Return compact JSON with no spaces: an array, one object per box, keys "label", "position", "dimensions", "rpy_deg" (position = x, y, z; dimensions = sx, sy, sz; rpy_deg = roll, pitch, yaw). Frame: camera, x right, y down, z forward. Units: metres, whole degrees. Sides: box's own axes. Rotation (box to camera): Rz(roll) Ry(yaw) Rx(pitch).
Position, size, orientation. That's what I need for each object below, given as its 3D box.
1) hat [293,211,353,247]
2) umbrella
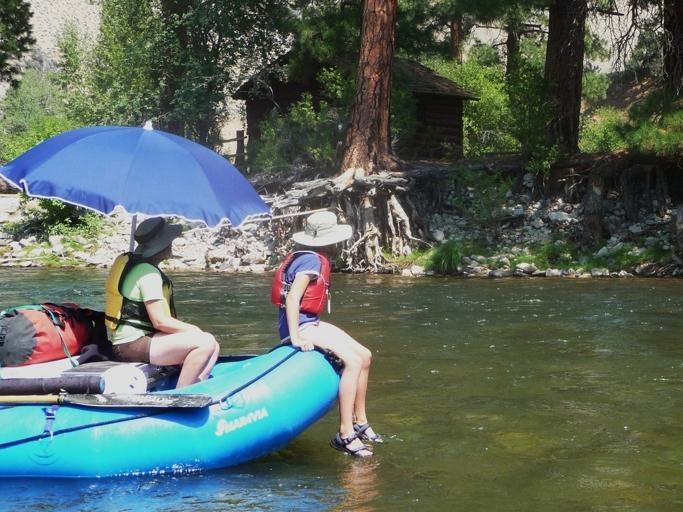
[{"label":"hat","position":[-0.195,-0.360,10.898],"dimensions":[0.799,0.264,0.773],"rpy_deg":[-7,19,-15]},{"label":"umbrella","position":[-2.311,-0.871,10.555],"dimensions":[2.626,1.087,0.960],"rpy_deg":[-1,12,-2]}]
